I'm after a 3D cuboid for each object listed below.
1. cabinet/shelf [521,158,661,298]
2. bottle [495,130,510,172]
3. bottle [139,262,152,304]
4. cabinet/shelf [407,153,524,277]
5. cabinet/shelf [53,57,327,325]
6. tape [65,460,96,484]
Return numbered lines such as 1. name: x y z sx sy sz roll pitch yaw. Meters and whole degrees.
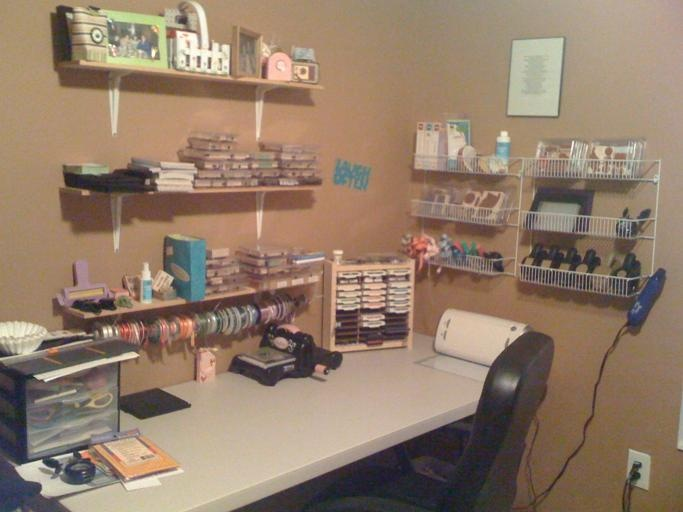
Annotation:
1. cabinet/shelf: 1.317 -0.149 2.902 0.677 0.685 0.224 6 7 36
2. bottle: 0.930 -0.604 3.225 0.084 0.225 0.159 5 13 15
3. bottle: -0.917 0.109 2.599 0.061 0.178 0.164 -3 14 -20
4. cabinet/shelf: 0.760 -0.243 3.344 0.212 0.686 0.699 -3 7 -44
5. cabinet/shelf: -0.768 -0.313 2.667 1.356 1.219 0.313 -3 4 -42
6. tape: -0.948 0.775 2.021 0.091 0.053 0.093 -9 17 -38
